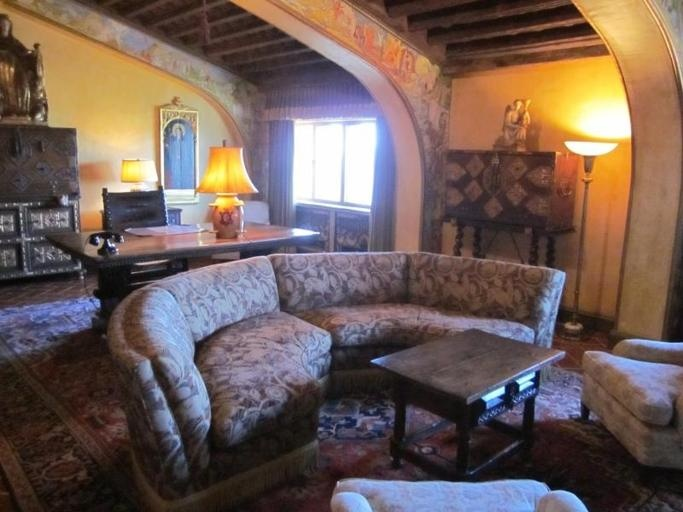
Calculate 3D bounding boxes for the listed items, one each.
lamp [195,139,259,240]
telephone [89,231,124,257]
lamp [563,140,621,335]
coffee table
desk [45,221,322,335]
[{"bbox_3d":[-1.066,-0.597,4.855,0.525,0.863,0.464,-1,10,-10],"label":"lamp"},{"bbox_3d":[-1.980,-0.095,4.407,0.214,0.136,0.102,5,17,12],"label":"telephone"},{"bbox_3d":[2.316,-0.175,5.053,0.446,1.891,0.640,5,11,26],"label":"lamp"},{"bbox_3d":[0.767,0.906,3.251,1.019,0.682,0.609,-6,11,-37],"label":"coffee table"},{"bbox_3d":[-1.776,-0.076,4.870,1.790,0.570,1.329,-9,19,-39],"label":"desk"}]
